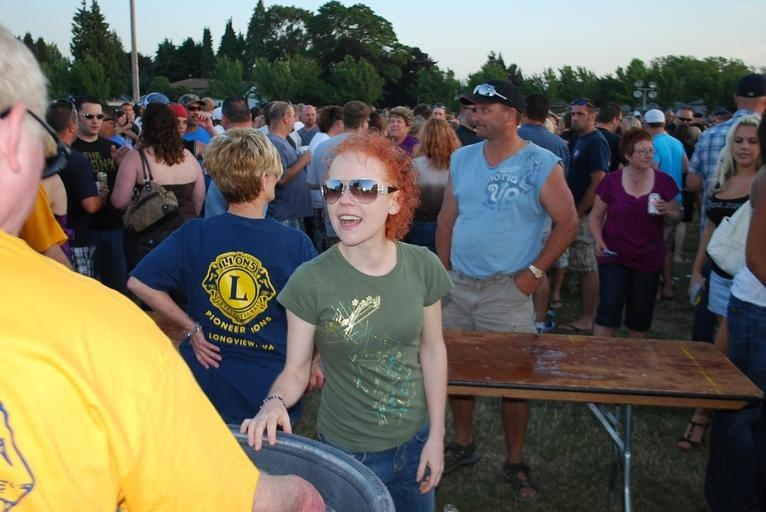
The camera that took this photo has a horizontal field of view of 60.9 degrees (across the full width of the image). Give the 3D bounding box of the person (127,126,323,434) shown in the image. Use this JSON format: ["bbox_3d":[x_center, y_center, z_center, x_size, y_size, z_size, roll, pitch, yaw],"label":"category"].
[{"bbox_3d":[-0.638,0.394,3.258,0.938,1.917,0.615,3,27,9],"label":"person"}]

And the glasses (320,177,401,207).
[{"bbox_3d":[-0.082,-0.252,2.479,0.292,0.095,0.096,-3,17,-3],"label":"glasses"}]

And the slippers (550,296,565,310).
[{"bbox_3d":[1.937,0.520,7.265,0.129,0.092,0.332,-2,1,4],"label":"slippers"}]

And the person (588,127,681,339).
[{"bbox_3d":[1.972,-0.181,5.188,0.675,1.576,0.742,5,18,23],"label":"person"}]

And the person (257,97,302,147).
[{"bbox_3d":[-1.277,-1.638,8.162,0.444,0.717,0.596,-13,27,-42],"label":"person"}]

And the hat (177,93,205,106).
[{"bbox_3d":[-2.301,-1.830,7.634,0.224,0.157,0.294,-12,10,-42],"label":"hat"}]

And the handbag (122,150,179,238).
[{"bbox_3d":[-1.764,-0.511,4.826,0.411,0.569,0.188,-12,13,9],"label":"handbag"}]

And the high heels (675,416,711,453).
[{"bbox_3d":[2.189,1.194,4.569,0.125,0.146,0.378,-1,25,48],"label":"high heels"}]

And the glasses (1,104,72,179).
[{"bbox_3d":[-0.820,-0.274,1.640,0.129,0.149,0.045,24,-12,-35],"label":"glasses"}]

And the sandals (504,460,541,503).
[{"bbox_3d":[0.859,1.369,3.995,0.104,0.108,0.270,-9,10,-9],"label":"sandals"}]

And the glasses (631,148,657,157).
[{"bbox_3d":[2.042,-0.816,5.133,0.191,0.067,0.200,-3,5,0],"label":"glasses"}]

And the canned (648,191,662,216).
[{"bbox_3d":[2.105,-0.402,5.060,0.087,0.158,0.144,4,18,21],"label":"canned"}]

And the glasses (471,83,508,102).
[{"bbox_3d":[0.690,-1.046,4.169,0.176,0.055,0.137,19,6,-8],"label":"glasses"}]
